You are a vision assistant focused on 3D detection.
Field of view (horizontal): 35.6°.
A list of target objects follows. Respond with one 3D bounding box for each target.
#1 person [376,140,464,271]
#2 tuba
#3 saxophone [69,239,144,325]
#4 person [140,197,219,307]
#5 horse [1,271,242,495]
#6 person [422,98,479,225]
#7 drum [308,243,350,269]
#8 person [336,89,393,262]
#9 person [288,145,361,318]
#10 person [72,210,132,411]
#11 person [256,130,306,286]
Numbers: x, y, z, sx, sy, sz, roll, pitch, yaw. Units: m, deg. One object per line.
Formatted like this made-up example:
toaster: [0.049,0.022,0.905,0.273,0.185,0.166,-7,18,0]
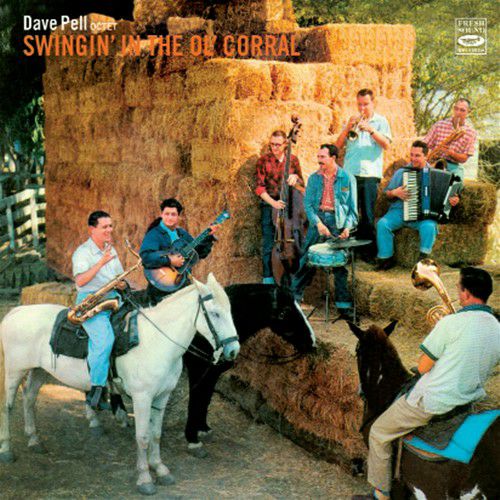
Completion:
person: [1.986,-0.548,9.569,0.863,1.585,0.758,3,2,-5]
tuba: [1.807,0.331,7.309,0.370,0.668,0.430,-5,18,-30]
saxophone: [-1.401,0.419,7.601,0.666,0.555,0.377,-1,14,-8]
person: [-0.767,0.009,8.259,0.649,1.264,0.676,10,19,-32]
horse: [-0.917,0.993,8.077,1.265,2.029,2.948,-6,10,-43]
person: [2.446,-1.172,9.848,0.549,1.505,0.473,19,25,39]
drum: [0.876,0.080,8.756,0.461,0.281,0.290,3,15,5]
person: [1.374,-0.995,9.701,0.562,1.900,0.545,3,3,36]
person: [0.865,-0.219,9.170,0.679,2.096,0.748,0,2,-3]
person: [-1.427,0.557,7.640,0.585,1.875,0.715,2,3,34]
person: [0.347,-0.691,9.310,0.413,2.190,0.430,1,20,0]
